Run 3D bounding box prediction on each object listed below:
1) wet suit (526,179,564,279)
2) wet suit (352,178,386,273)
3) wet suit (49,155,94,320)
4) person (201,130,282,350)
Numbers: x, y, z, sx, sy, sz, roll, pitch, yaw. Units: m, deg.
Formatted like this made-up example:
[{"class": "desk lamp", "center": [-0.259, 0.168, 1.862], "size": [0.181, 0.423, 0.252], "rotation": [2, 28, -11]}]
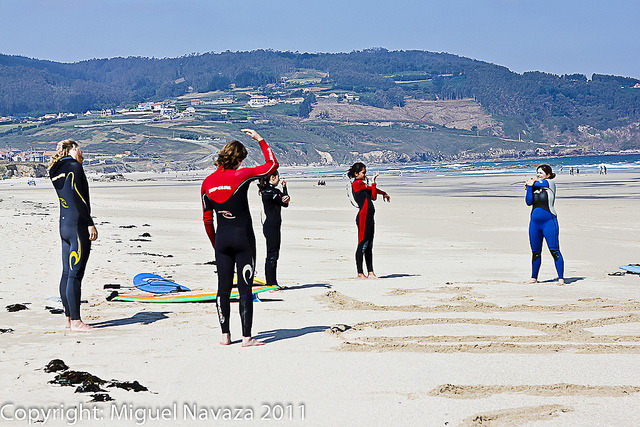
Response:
[{"class": "wet suit", "center": [4.778, 0.339, 18.568], "size": [0.671, 1.879, 0.506], "rotation": [-4, 1, 12]}, {"class": "wet suit", "center": [1.039, 0.239, 19.172], "size": [0.607, 1.934, 0.781], "rotation": [-4, 1, 2]}, {"class": "wet suit", "center": [-4.371, 0.398, 15.420], "size": [0.692, 2.970, 0.414], "rotation": [-4, 1, -2]}, {"class": "person", "center": [-1.353, 0.455, 14.624], "size": [1.228, 3.564, 0.578], "rotation": [-4, 1, 2]}]
